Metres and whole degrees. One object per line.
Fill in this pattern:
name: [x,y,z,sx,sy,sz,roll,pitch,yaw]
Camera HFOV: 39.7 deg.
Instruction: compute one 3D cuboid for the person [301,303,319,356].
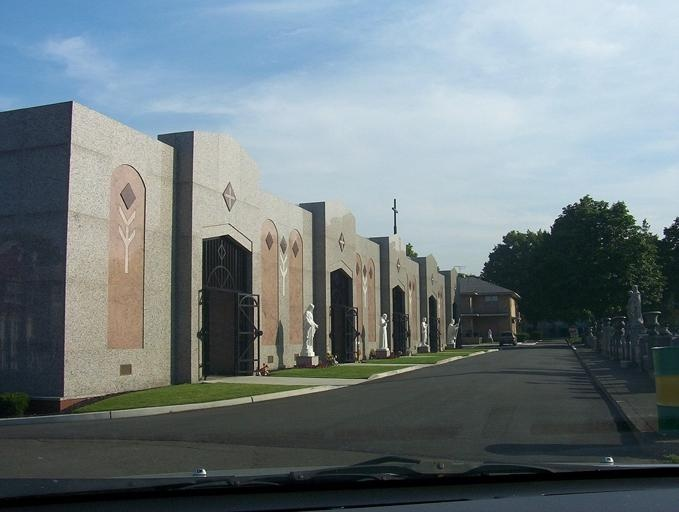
person: [-1.320,3.205,39.881,0.641,2.319,1.158,-1,-9,-1]
